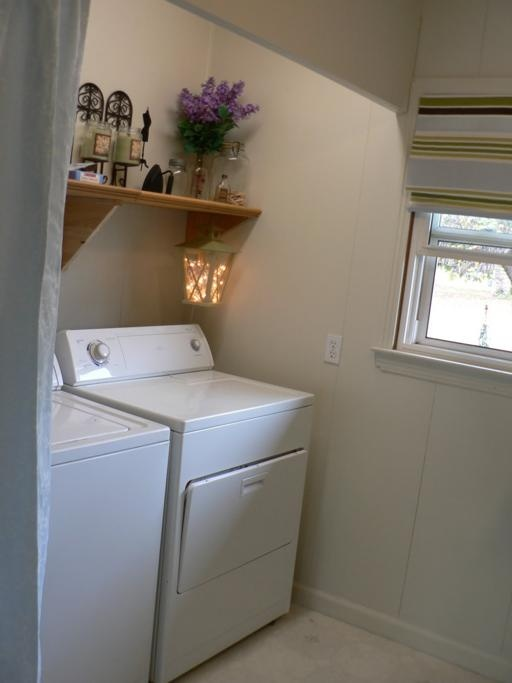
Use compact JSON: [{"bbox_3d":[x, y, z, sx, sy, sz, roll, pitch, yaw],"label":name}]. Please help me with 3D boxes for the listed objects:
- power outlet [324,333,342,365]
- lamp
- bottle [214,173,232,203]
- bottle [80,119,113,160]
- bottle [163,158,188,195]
[{"bbox_3d":[0.327,0.034,2.127,0.015,0.117,0.079,3,2,-44],"label":"power outlet"},{"bbox_3d":[-0.228,-0.352,2.302,0.262,0.371,0.258,6,10,0],"label":"lamp"},{"bbox_3d":[-0.149,-0.698,2.294,0.071,0.103,0.046,4,2,-9],"label":"bottle"},{"bbox_3d":[-0.592,-0.739,1.888,0.123,0.182,0.123,12,14,-3],"label":"bottle"},{"bbox_3d":[-0.367,-0.732,2.242,0.092,0.130,0.220,4,1,-12],"label":"bottle"}]
